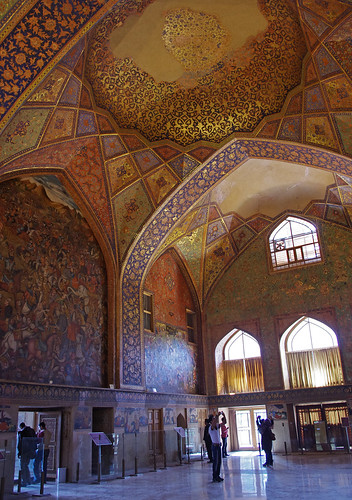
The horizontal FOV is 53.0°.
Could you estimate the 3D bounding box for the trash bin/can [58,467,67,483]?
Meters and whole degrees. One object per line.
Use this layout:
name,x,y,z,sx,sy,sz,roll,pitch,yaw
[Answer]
trash bin/can,-2.037,4.021,6.282,0.126,0.236,0.434,1,-26,-8

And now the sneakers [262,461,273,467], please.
sneakers,1.858,4.405,7.252,0.308,0.123,0.096,-25,-34,37
